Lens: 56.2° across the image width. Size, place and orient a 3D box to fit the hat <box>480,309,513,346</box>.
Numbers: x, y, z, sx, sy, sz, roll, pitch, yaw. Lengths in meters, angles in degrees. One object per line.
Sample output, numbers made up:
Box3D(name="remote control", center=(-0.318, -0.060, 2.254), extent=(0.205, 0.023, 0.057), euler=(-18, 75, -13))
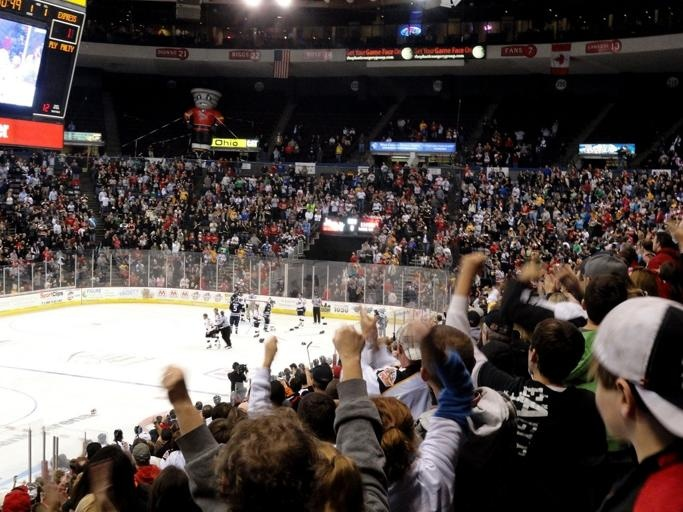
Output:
Box3D(name="hat", center=(1.317, 0.615, 5.607), extent=(0.222, 0.321, 0.306), euler=(-4, 10, -20))

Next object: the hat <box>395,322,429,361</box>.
Box3D(name="hat", center=(0.544, 0.677, 5.072), extent=(0.251, 0.329, 0.329), euler=(-2, 3, -4))

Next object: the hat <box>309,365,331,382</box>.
Box3D(name="hat", center=(-0.211, 1.233, 6.646), extent=(0.213, 0.156, 0.425), euler=(3, 3, -2))

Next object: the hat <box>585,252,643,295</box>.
Box3D(name="hat", center=(2.621, 0.108, 6.318), extent=(0.648, 0.387, 0.413), euler=(12, -2, -36))
